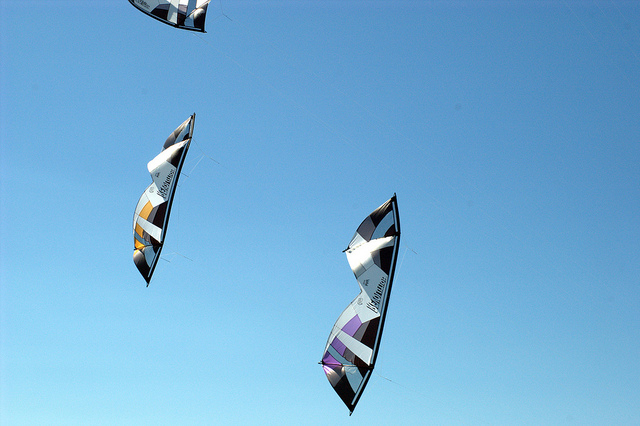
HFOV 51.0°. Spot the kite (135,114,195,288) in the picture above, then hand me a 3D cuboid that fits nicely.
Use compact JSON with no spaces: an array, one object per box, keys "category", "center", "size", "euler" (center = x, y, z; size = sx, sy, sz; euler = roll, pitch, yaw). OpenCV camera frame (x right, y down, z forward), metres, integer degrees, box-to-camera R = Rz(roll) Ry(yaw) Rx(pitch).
[{"category":"kite","center":[-6.081,-0.648,25.854],"size":[0.838,1.573,6.705],"euler":[19,-83,26]}]

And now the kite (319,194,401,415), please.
[{"category":"kite","center":[1.691,3.072,23.697],"size":[1.614,6.285,5.727],"euler":[16,-7,29]}]
